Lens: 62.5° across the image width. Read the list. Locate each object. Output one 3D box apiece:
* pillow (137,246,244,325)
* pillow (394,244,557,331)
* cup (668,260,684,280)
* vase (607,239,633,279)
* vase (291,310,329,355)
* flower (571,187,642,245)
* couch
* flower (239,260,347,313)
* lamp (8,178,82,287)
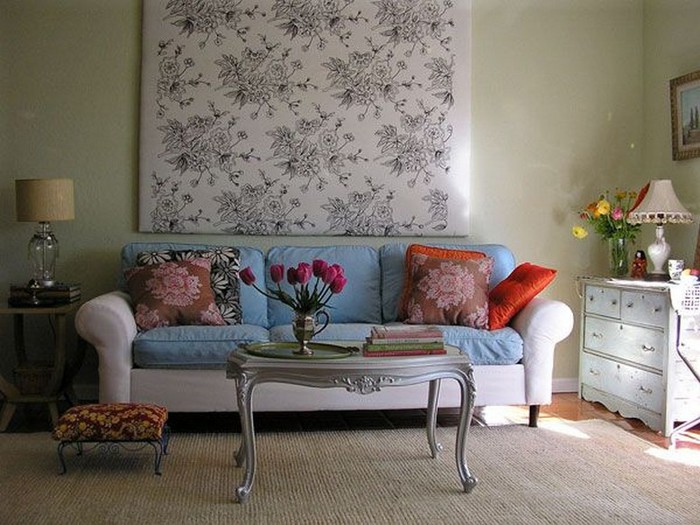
[{"bbox_3d":[-1.087,0.131,3.852,0.559,0.551,0.186,0,-29,-26],"label":"pillow"},{"bbox_3d":[0.816,0.170,3.860,0.689,0.650,0.222,2,-30,6],"label":"pillow"},{"bbox_3d":[2.217,0.047,4.006,0.125,0.152,0.123,3,0,0],"label":"cup"},{"bbox_3d":[2.053,-0.012,4.371,0.158,0.290,0.167,-5,-13,40],"label":"vase"},{"bbox_3d":[-0.200,0.363,3.020,0.198,0.226,0.130,0,-2,-14],"label":"vase"},{"bbox_3d":[1.968,-0.285,4.487,0.414,0.458,0.479,-12,-9,25],"label":"flower"},{"bbox_3d":[-0.172,0.509,4.110,3.156,1.373,1.044,0,-3,-7],"label":"couch"},{"bbox_3d":[-0.273,0.154,3.151,0.524,0.362,0.590,-1,-2,0],"label":"flower"},{"bbox_3d":[-2.110,-0.231,4.068,0.374,0.724,0.492,-4,9,-28],"label":"lamp"}]
